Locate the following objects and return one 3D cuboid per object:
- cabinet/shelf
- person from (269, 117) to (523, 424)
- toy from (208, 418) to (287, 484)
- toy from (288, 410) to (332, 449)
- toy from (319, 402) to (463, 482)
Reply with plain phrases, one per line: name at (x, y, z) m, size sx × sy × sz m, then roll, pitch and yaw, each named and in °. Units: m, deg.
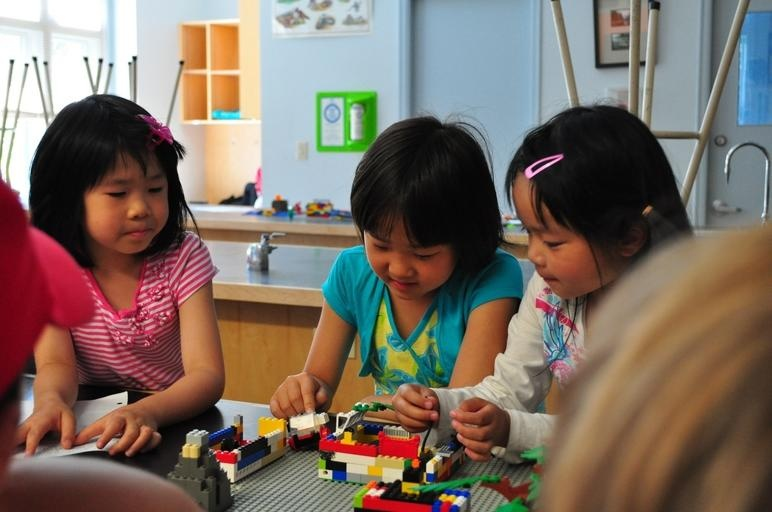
cabinet/shelf at (-1.388, -1.560, 5.167) m, size 0.724 × 0.690 × 0.246 m, roll -2°, pitch 9°, yaw -7°
person at (-0.038, -0.041, 1.515) m, size 0.534 × 0.816 × 0.605 m, roll 9°, pitch 10°, yaw 32°
toy at (-0.194, 0.280, 0.912) m, size 0.048 × 0.047 × 0.094 m, roll 2°, pitch 7°, yaw 20°
toy at (-0.119, 0.269, 0.978) m, size 0.066 × 0.050 × 0.048 m, roll -5°, pitch -4°, yaw 14°
toy at (0.002, 0.250, 0.902) m, size 0.104 × 0.055 × 0.108 m, roll 2°, pitch 1°, yaw 18°
